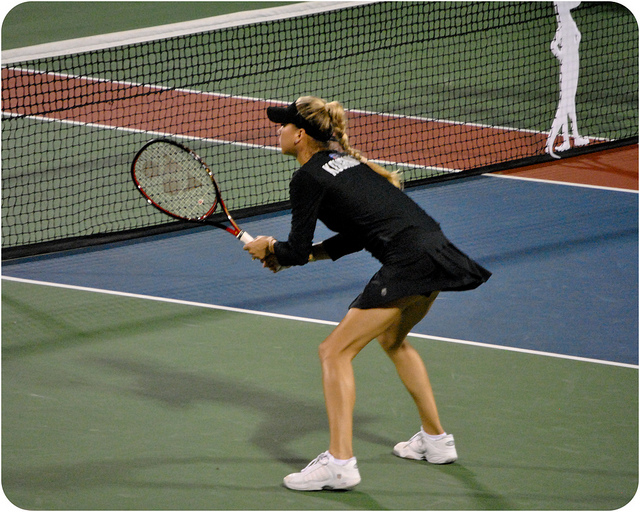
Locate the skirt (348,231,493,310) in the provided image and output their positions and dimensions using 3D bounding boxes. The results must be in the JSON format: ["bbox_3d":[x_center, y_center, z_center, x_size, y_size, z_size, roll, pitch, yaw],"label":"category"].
[{"bbox_3d":[0.592,0.089,4.567,0.762,0.234,0.514,-16,5,8],"label":"skirt"}]

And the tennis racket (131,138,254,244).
[{"bbox_3d":[-0.974,-0.492,5.293,0.656,0.667,0.470,-6,16,-10],"label":"tennis racket"}]
